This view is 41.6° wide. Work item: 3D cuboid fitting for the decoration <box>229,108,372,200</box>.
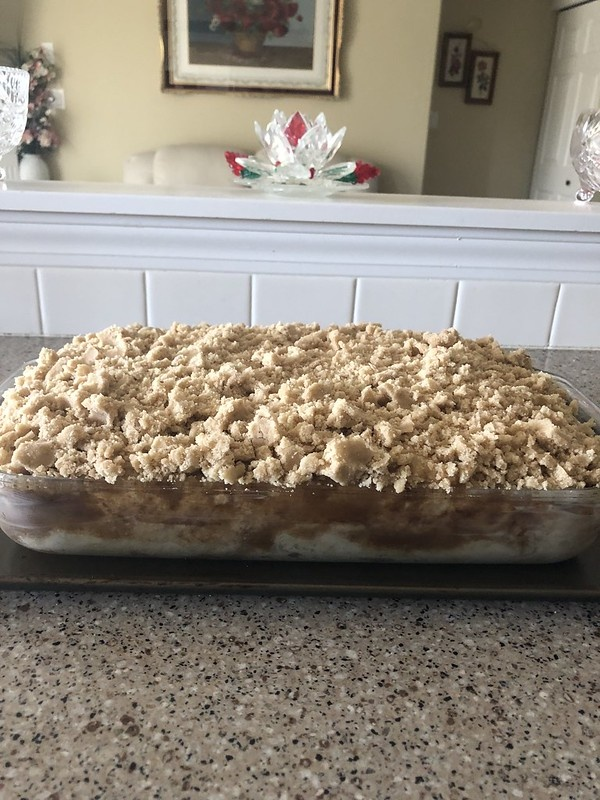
[{"bbox_3d":[-0.011,-0.425,1.363,0.265,0.104,0.247,-11,23,-39],"label":"decoration"}]
